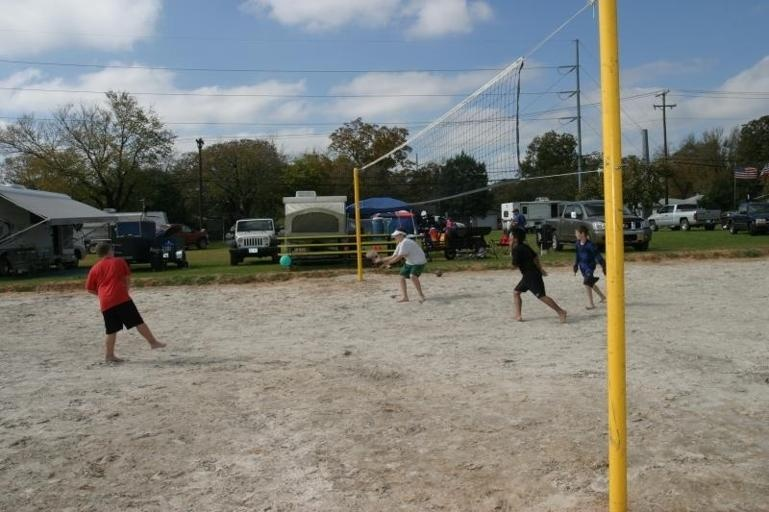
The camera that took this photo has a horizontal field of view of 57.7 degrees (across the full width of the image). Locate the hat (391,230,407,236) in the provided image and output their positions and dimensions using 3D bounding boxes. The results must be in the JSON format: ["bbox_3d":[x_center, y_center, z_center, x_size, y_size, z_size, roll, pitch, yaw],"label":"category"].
[{"bbox_3d":[0.317,-0.504,14.882,0.324,0.109,0.211,-1,0,3],"label":"hat"}]

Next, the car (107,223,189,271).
[{"bbox_3d":[-7.963,-0.478,24.608,2.051,0.999,2.057,3,6,31],"label":"car"}]

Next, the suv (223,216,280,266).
[{"bbox_3d":[-4.910,-0.664,26.622,1.518,1.200,2.599,-1,-3,-4],"label":"suv"}]

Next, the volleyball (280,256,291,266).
[{"bbox_3d":[-3.098,0.148,22.121,0.300,0.408,0.347,-5,12,-16],"label":"volleyball"}]

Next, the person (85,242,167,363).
[{"bbox_3d":[-4.069,0.670,10.829,0.929,1.746,1.326,-7,13,-22],"label":"person"}]

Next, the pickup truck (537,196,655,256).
[{"bbox_3d":[7.678,-1.129,27.007,2.836,2.088,5.983,-1,1,-14],"label":"pickup truck"}]
